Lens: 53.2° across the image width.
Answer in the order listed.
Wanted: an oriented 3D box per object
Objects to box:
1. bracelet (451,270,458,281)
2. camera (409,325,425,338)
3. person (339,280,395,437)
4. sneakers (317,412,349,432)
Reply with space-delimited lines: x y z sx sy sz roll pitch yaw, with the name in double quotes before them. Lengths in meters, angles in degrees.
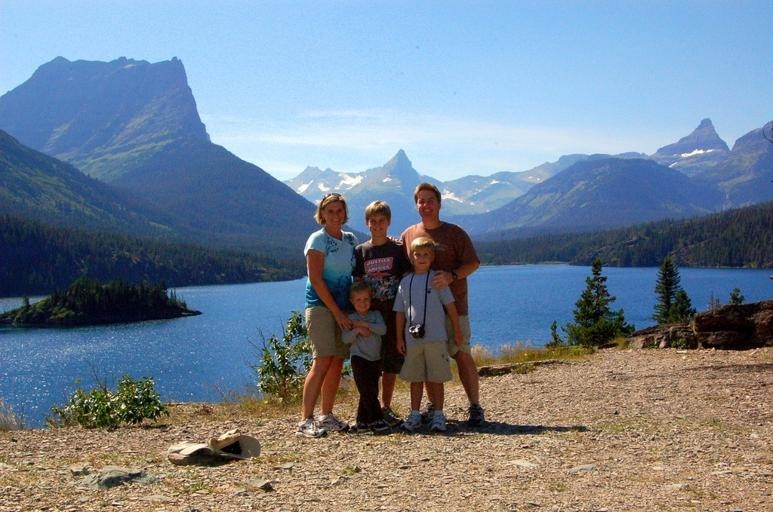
"bracelet" 1.391 0.382 15.769 0.037 0.141 0.141 -7 21 37
"camera" 0.622 1.476 15.583 0.284 0.278 0.251 0 8 37
"person" -0.374 2.045 15.681 0.866 3.003 0.948 2 12 24
"sneakers" -1.094 3.376 15.721 0.618 0.265 0.287 2 -1 11
